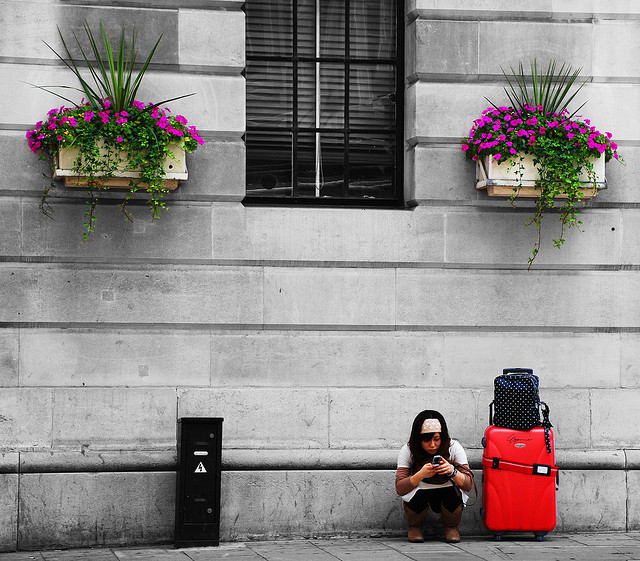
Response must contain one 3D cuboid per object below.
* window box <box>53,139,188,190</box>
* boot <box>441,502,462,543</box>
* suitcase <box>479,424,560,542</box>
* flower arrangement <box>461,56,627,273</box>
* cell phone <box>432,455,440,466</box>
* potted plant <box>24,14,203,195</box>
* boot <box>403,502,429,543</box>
[{"bbox_3d":[-1.953,-1.065,14.303,1.283,0.459,0.369,-1,-2,-9],"label":"window box"},{"bbox_3d":[1.281,2.333,14.446,0.202,0.380,0.202,-1,-2,4],"label":"boot"},{"bbox_3d":[1.968,1.898,14.448,0.764,1.144,0.431,-1,14,7],"label":"suitcase"},{"bbox_3d":[2.191,-1.145,14.883,1.460,2.166,0.676,-1,-2,6],"label":"flower arrangement"},{"bbox_3d":[1.093,1.703,14.078,0.063,0.084,0.136,-1,-2,-5],"label":"cell phone"},{"bbox_3d":[-2.176,-1.552,14.925,1.654,1.447,1.704,0,-1,-11],"label":"potted plant"},{"bbox_3d":[0.924,2.324,14.426,0.238,0.367,0.297,4,4,1],"label":"boot"}]
